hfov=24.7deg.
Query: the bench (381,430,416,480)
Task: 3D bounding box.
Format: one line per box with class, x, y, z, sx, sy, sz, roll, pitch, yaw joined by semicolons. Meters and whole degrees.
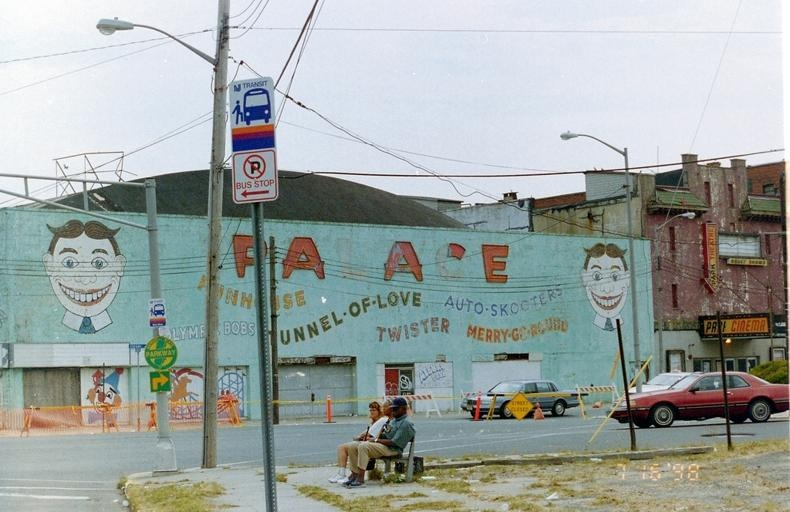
bench;0.260;9.001;79.370;1.630;2.729;1.554;2;-7;-4
